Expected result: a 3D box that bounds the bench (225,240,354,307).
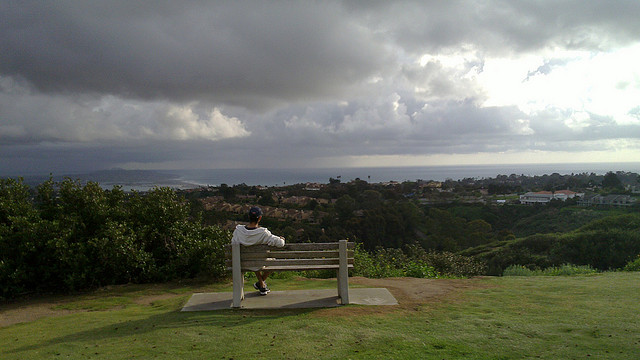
[{"bbox_3d":[-0.828,2.605,10.905,3.810,1.644,1.275,-2,-8,-1],"label":"bench"}]
